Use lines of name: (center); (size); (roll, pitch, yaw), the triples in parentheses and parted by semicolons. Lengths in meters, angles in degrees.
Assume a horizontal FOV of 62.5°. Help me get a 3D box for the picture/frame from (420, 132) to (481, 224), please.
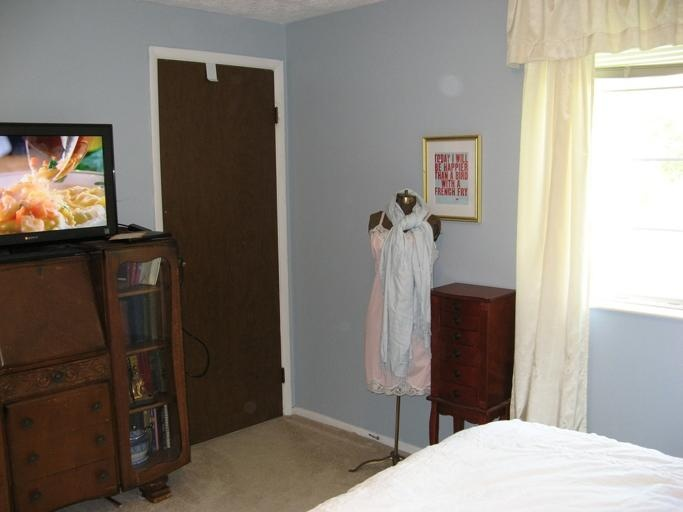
picture/frame: (0.700, -0.488, 3.573); (0.531, 0.756, 0.030); (2, 6, 45)

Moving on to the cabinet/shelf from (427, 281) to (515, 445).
cabinet/shelf: (0.762, 0.764, 3.344); (0.428, 1.057, 0.348); (3, 0, 44)
